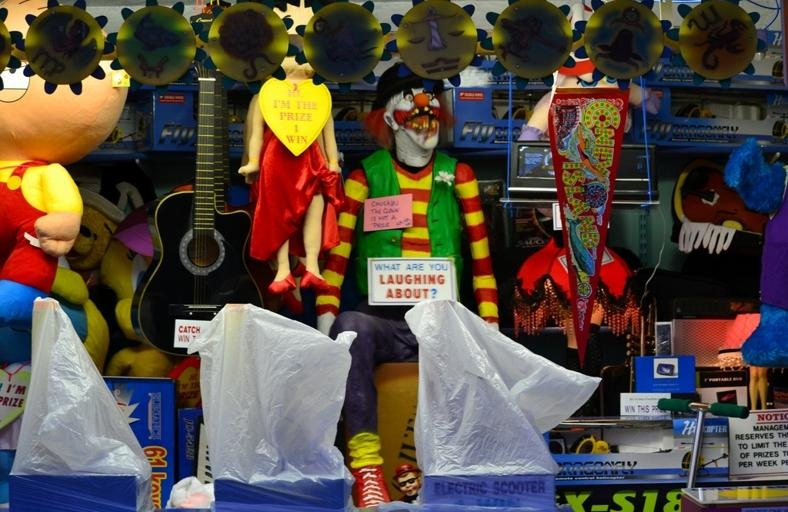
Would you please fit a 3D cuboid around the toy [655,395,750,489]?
[{"bbox_3d":[1.284,0.773,6.051,0.351,0.380,0.508,2,2,10],"label":"toy"}]
